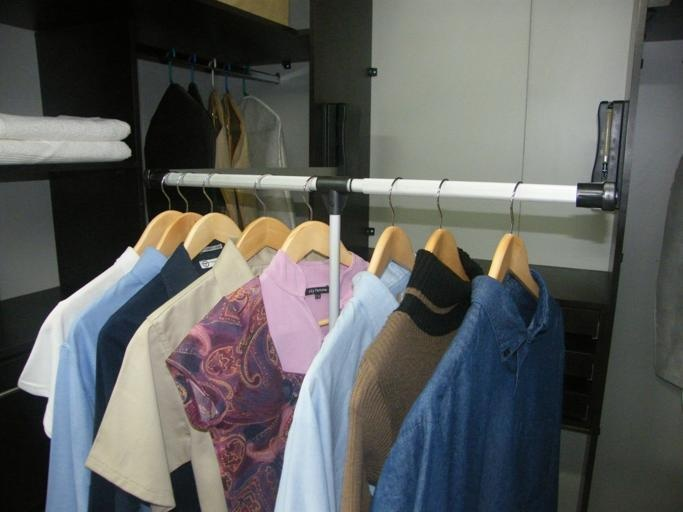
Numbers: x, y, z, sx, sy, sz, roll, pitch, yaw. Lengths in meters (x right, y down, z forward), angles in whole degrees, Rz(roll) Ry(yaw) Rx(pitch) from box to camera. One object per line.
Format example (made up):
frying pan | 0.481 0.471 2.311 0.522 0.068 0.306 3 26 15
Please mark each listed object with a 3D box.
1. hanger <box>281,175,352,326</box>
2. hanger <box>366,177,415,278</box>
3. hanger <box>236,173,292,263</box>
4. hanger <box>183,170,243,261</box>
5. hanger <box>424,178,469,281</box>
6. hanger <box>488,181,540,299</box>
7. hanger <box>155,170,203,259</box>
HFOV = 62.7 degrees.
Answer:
hanger | -0.024 -0.020 1.391 0.103 0.334 0.160 -5 14 -21
hanger | 0.167 -0.105 1.853 0.023 0.410 0.330 2 10 21
hanger | -0.240 -0.118 1.699 0.017 0.235 0.247 9 20 29
hanger | -0.342 -0.102 1.478 0.171 0.198 0.019 -13 12 -36
hanger | 0.337 -0.090 1.749 0.028 0.347 0.287 -6 18 20
hanger | 0.410 -0.034 1.349 0.012 0.195 0.206 0 -6 39
hanger | -0.417 -0.087 1.508 0.018 0.280 0.141 31 32 32
